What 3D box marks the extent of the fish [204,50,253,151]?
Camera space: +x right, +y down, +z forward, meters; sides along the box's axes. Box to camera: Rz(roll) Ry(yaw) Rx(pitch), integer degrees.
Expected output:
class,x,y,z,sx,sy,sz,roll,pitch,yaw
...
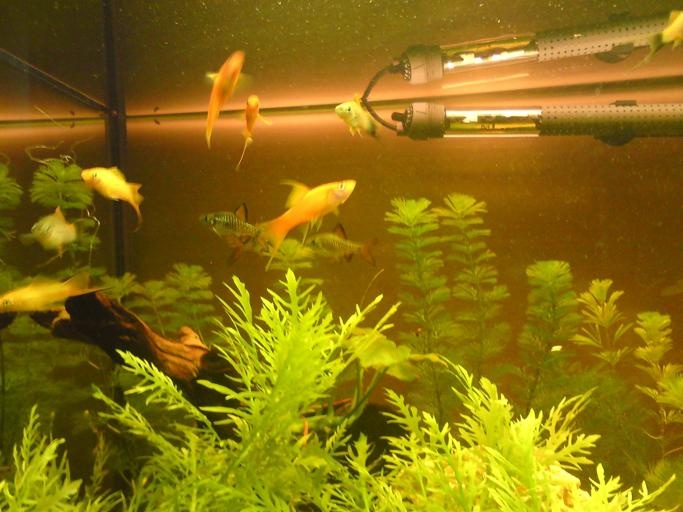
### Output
class,x,y,z,sx,sy,sz,roll,pitch,yaw
fish,-0.272,-0.381,1.531,0.078,0.089,0.178,0,-48,-56

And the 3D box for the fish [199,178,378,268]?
class,x,y,z,sx,sy,sz,roll,pitch,yaw
fish,-0.118,-0.079,1.456,0.373,0.188,0.111,1,-23,9

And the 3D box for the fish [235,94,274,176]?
class,x,y,z,sx,sy,sz,roll,pitch,yaw
fish,-0.211,-0.306,1.526,0.065,0.115,0.052,17,11,24

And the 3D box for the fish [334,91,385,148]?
class,x,y,z,sx,sy,sz,roll,pitch,yaw
fish,0.036,-0.312,1.444,0.101,0.085,0.036,4,-23,3
